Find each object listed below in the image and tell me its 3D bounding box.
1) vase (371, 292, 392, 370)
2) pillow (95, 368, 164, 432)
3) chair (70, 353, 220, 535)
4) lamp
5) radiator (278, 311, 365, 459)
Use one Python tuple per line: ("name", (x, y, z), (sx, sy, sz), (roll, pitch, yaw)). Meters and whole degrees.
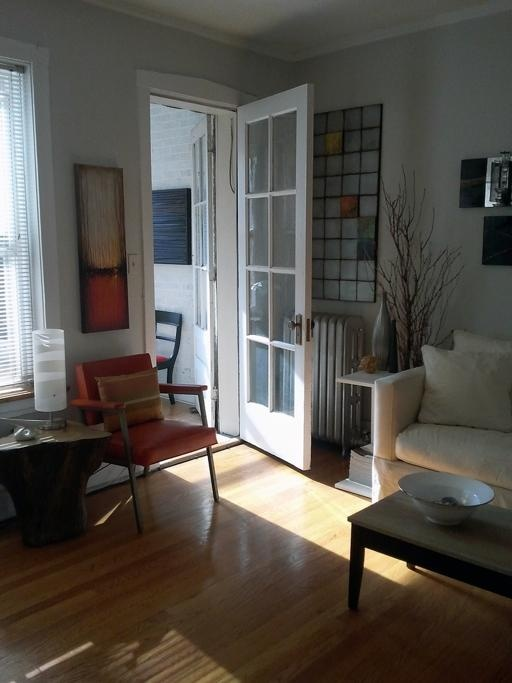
("vase", (0.706, -0.046, 2.989), (0.105, 0.416, 0.212), (1, 5, 15))
("pillow", (-0.646, 0.282, 2.724), (0.360, 0.284, 0.127), (-8, 5, -44))
("chair", (-0.544, 0.442, 2.633), (0.632, 0.722, 0.686), (-1, 6, 5))
("lamp", (-0.959, 0.163, 2.465), (0.142, 0.448, 0.317), (-2, 5, -22))
("radiator", (0.393, 0.245, 3.201), (0.277, 0.892, 0.740), (-8, 12, -37))
